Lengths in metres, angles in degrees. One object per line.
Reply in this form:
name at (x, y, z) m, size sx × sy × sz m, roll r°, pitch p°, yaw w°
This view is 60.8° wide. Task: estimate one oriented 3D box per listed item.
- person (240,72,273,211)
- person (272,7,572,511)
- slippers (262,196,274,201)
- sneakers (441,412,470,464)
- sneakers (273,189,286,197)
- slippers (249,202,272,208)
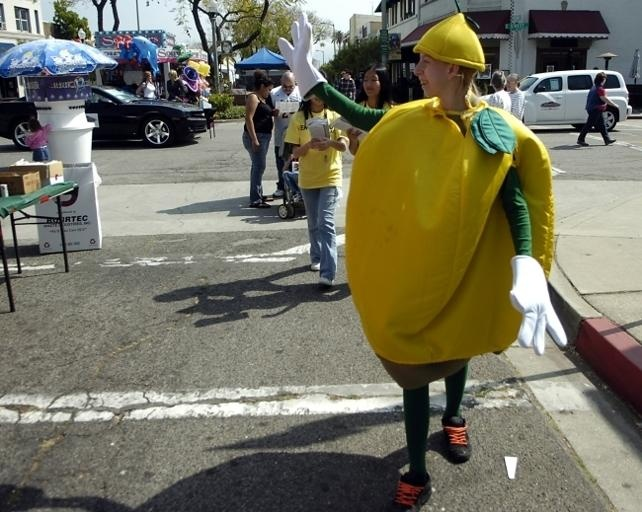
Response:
person at (-0.997, -1.877, 8.959) m, size 0.468 × 2.173 × 0.645 m, roll -3°, pitch 18°, yaw -6°
person at (0.482, 0.071, 2.558) m, size 1.279 × 2.280 × 0.732 m, roll 8°, pitch 20°, yaw 26°
slippers at (-0.917, -0.987, 9.560) m, size 0.156 × 0.032 × 0.133 m, roll 4°, pitch 18°, yaw 3°
sneakers at (0.740, 1.007, 3.019) m, size 0.125 × 0.105 × 0.249 m, roll -5°, pitch 32°, yaw 9°
sneakers at (-0.832, -1.119, 9.844) m, size 0.385 × 0.130 × 0.131 m, roll 2°, pitch 6°, yaw -8°
slippers at (-1.009, -0.840, 9.112) m, size 0.348 × 0.118 × 0.119 m, roll -1°, pitch 17°, yaw -5°
